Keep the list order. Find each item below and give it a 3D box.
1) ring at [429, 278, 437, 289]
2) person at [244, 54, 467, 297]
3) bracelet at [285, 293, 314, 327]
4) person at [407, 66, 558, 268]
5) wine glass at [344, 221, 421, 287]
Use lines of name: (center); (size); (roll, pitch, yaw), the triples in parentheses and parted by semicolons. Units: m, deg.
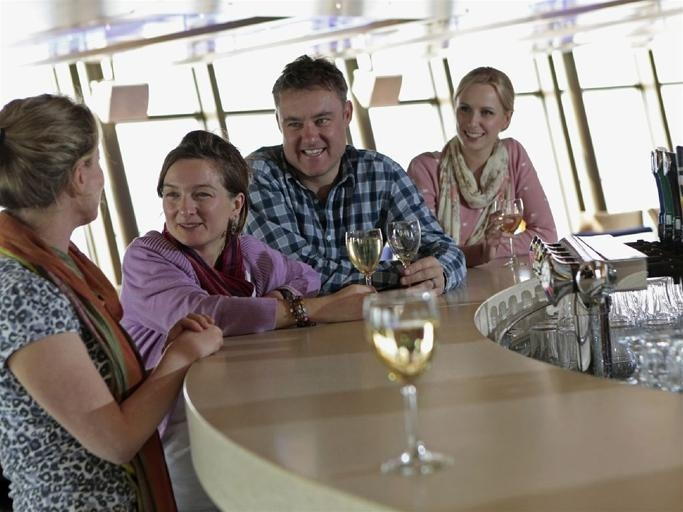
ring: (0.320, 0.096, 1.751); (0.009, 0.030, 0.028); (-6, 9, -13)
person: (0.095, -0.389, 2.294); (0.840, 1.147, 1.032); (-8, 10, -33)
bracelet: (-0.132, 0.162, 1.531); (0.034, 0.096, 0.068); (-42, -25, 30)
person: (0.815, -0.521, 3.040); (0.794, 1.188, 0.683); (-1, 13, 11)
wine glass: (0.141, 0.035, 1.753); (0.237, 0.406, 0.224); (1, -5, -8)
